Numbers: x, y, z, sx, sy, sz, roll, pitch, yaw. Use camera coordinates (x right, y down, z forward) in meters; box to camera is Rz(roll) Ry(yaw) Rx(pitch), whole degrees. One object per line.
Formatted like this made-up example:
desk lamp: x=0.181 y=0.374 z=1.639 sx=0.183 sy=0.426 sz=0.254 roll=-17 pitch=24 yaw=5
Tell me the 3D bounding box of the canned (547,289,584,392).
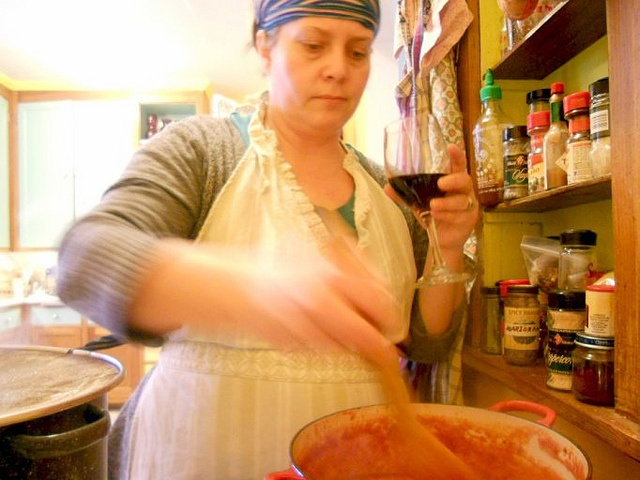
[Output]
canned: x=0.657 y=0.268 z=1.418 sx=0.114 sy=0.266 sz=0.114 roll=1 pitch=-1 yaw=-12
